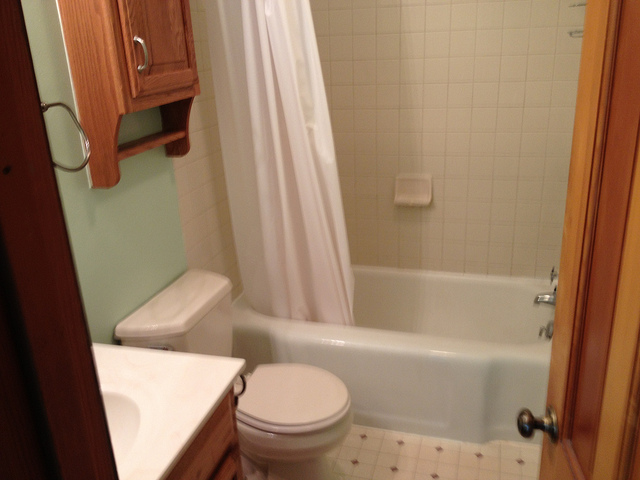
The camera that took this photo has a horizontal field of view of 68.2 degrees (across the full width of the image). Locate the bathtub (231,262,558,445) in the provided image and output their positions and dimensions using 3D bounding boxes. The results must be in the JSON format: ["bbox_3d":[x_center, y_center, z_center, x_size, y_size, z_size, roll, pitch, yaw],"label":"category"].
[{"bbox_3d":[0.540,0.544,2.479,1.323,0.368,0.795,5,19,17],"label":"bathtub"}]

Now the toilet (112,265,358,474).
[{"bbox_3d":[-0.274,0.401,2.014,0.764,0.794,0.740,3,22,6],"label":"toilet"}]

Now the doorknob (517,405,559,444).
[{"bbox_3d":[0.425,0.361,0.925,0.061,0.087,0.061,1,-6,2],"label":"doorknob"}]
